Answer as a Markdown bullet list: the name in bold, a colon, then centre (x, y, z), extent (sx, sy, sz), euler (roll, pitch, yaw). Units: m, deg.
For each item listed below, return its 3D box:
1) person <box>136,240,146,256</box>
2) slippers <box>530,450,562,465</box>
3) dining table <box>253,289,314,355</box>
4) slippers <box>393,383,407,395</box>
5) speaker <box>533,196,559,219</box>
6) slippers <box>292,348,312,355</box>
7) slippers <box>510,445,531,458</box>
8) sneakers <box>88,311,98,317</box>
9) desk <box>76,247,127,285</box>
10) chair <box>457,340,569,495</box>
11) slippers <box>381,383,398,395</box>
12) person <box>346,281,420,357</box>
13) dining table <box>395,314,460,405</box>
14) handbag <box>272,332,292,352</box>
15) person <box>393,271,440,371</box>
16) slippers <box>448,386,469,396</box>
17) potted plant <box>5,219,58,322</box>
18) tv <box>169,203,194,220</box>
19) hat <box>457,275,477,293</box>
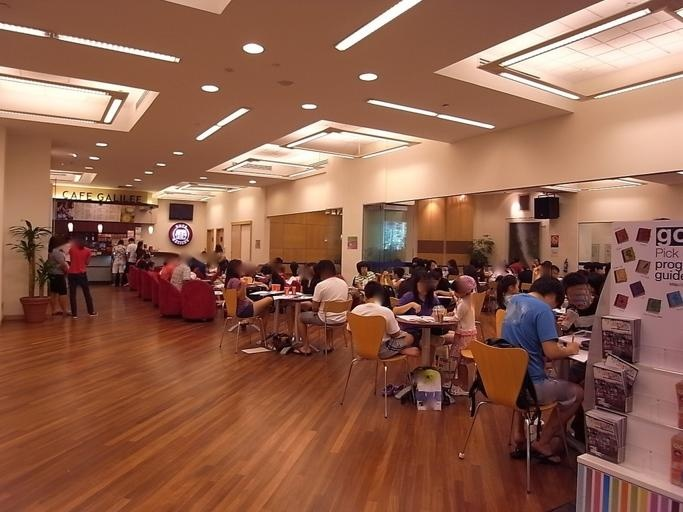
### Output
- **person**: centre (-7.263, -0.255, 16.582), extent (0.312, 0.592, 0.802), euler (-2, 5, -25)
- **slippers**: centre (1.877, 1.849, 4.246), extent (0.294, 0.084, 0.111), euler (0, 2, 21)
- **dining table**: centre (-1.058, 1.091, 8.176), extent (0.940, 0.958, 0.974), euler (3, 7, 7)
- **slippers**: centre (0.724, 1.667, 5.796), extent (0.078, 0.091, 0.225), euler (2, 7, 32)
- **speaker**: centre (4.860, -1.173, 10.919), extent (0.610, 0.527, 0.466), euler (4, 6, 37)
- **slippers**: centre (-0.660, 1.568, 7.539), extent (0.232, 0.060, 0.120), euler (2, -6, 8)
- **slippers**: centre (1.662, 1.808, 4.287), extent (0.151, 0.108, 0.088), euler (-7, 9, -30)
- **sneakers**: centre (-5.662, 1.310, 10.520), extent (0.099, 0.111, 0.250), euler (4, 4, 40)
- **desk**: centre (-9.602, 0.368, 17.225), extent (0.976, 1.366, 1.808), euler (2, -1, 13)
- **chair**: centre (1.520, 1.319, 4.290), extent (0.787, 1.146, 0.984), euler (4, 6, 31)
- **slippers**: centre (0.646, 1.674, 5.806), extent (0.106, 0.063, 0.197), euler (1, 5, 26)
- **person**: centre (0.559, 0.775, 5.609), extent (0.747, 1.075, 0.806), euler (-5, 5, -45)
- **dining table**: centre (0.990, 1.179, 5.807), extent (0.950, 1.093, 0.917), euler (0, 6, -15)
- **handbag**: centre (-1.005, 1.447, 7.740), extent (0.263, 0.181, 0.339), euler (5, 16, -3)
- **person**: centre (1.030, 0.785, 6.083), extent (0.570, 1.238, 0.612), euler (7, 10, 40)
- **slippers**: centre (1.470, 1.701, 5.818), extent (0.321, 0.137, 0.102), euler (-1, -1, -3)
- **potted plant**: centre (-6.420, 0.286, 9.552), extent (0.726, 2.090, 0.752), euler (5, 6, 41)
- **tv**: centre (-7.139, -2.002, 20.234), extent (0.757, 0.564, 0.098), euler (0, 2, -34)
- **hat**: centre (1.483, 0.332, 5.606), extent (0.199, 0.279, 0.268), euler (-2, -11, 40)
